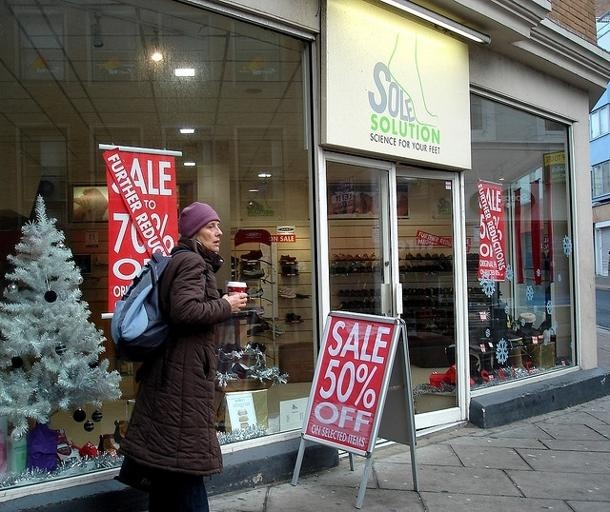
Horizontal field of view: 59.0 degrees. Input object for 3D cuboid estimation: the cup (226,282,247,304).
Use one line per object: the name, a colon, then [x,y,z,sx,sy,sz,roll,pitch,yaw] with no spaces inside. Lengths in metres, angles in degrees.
cup: [-0.428,0.225,3.387,0.122,0.110,0.120,1,0,0]

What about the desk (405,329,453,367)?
desk: [1.450,1.166,6.426,0.634,0.380,0.688,-9,-20,23]

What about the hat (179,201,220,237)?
hat: [-0.667,-0.229,3.387,0.207,0.192,0.202,-6,3,-10]

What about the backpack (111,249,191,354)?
backpack: [-0.935,0.339,3.437,0.447,0.843,0.603,8,-16,-16]
